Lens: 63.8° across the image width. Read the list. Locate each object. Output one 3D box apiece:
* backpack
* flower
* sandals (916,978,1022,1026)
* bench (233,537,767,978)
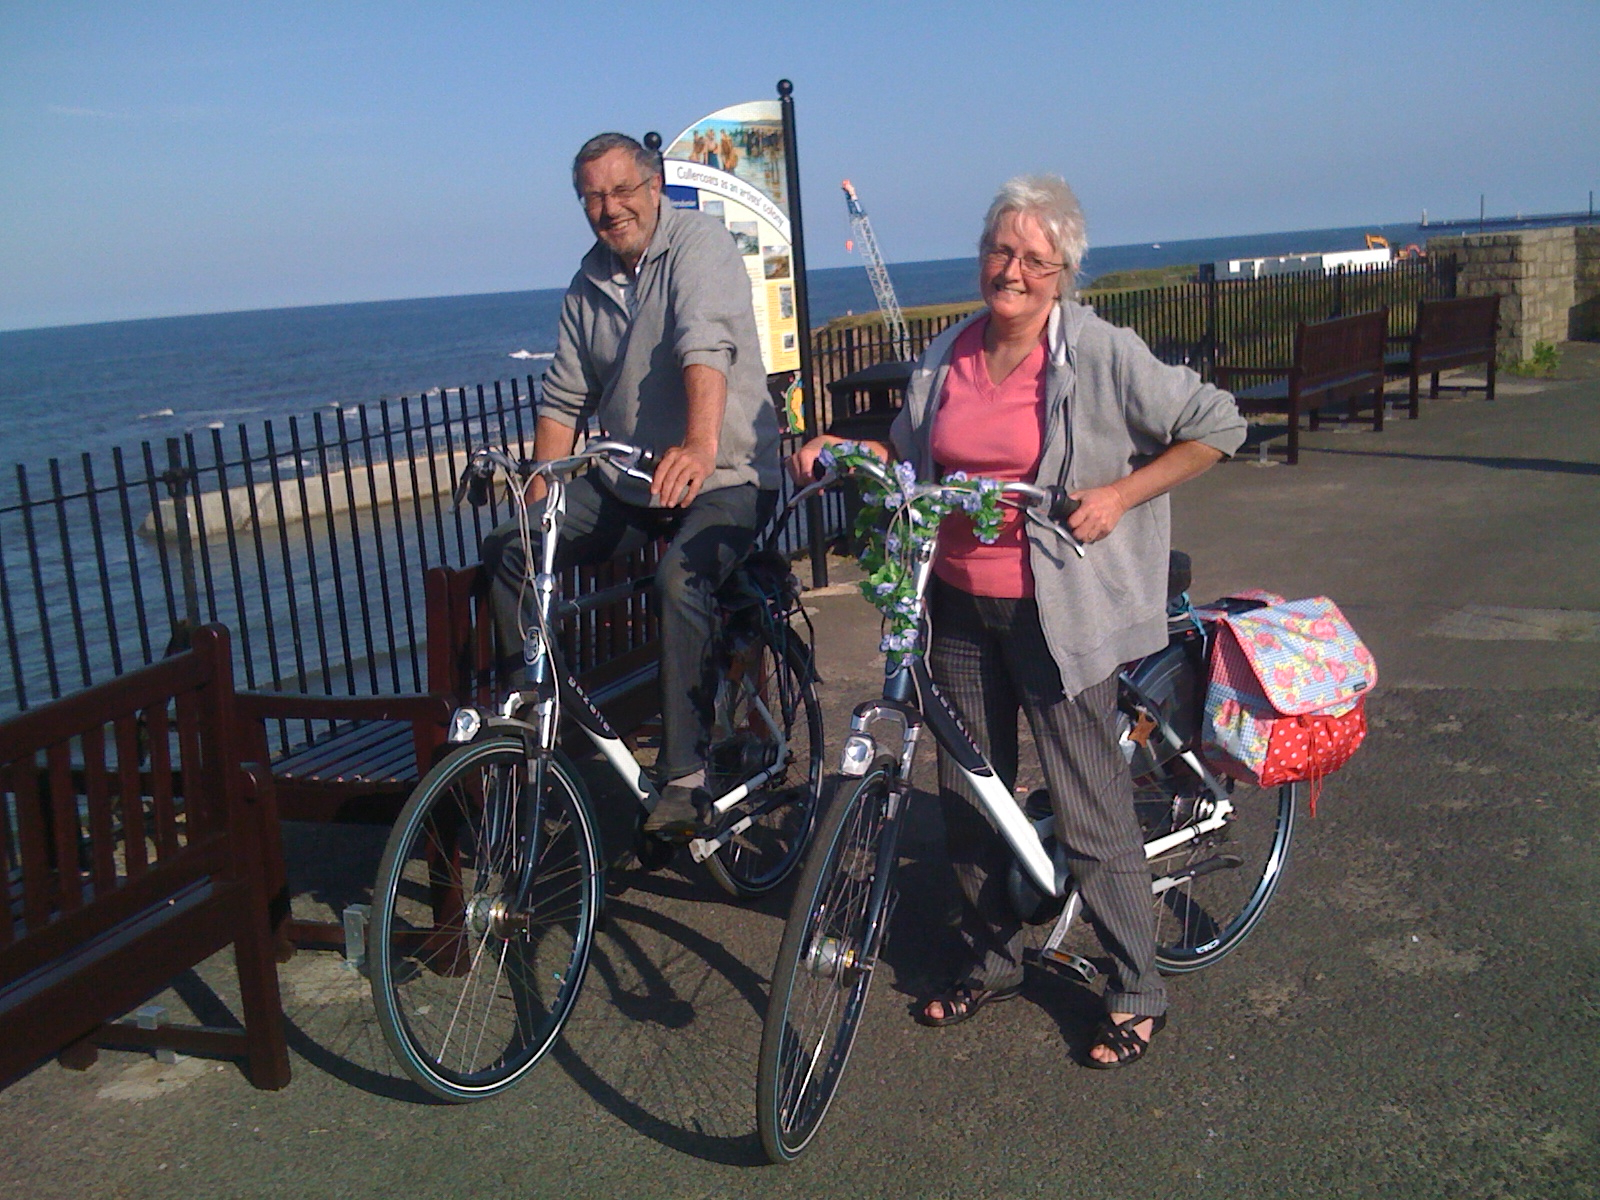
[{"bbox_3d":[1.593,0.254,4.172,0.484,0.598,0.557,-8,14,-40],"label":"backpack"},{"bbox_3d":[0.323,-0.153,3.747,0.549,0.602,0.353,1,16,13],"label":"flower"},{"bbox_3d":[0.559,1.303,4.200,0.361,0.120,0.138,-6,2,-28],"label":"sandals"},{"bbox_3d":[-0.728,0.631,5.428,0.782,1.475,2.460,9,1,11],"label":"bench"}]
